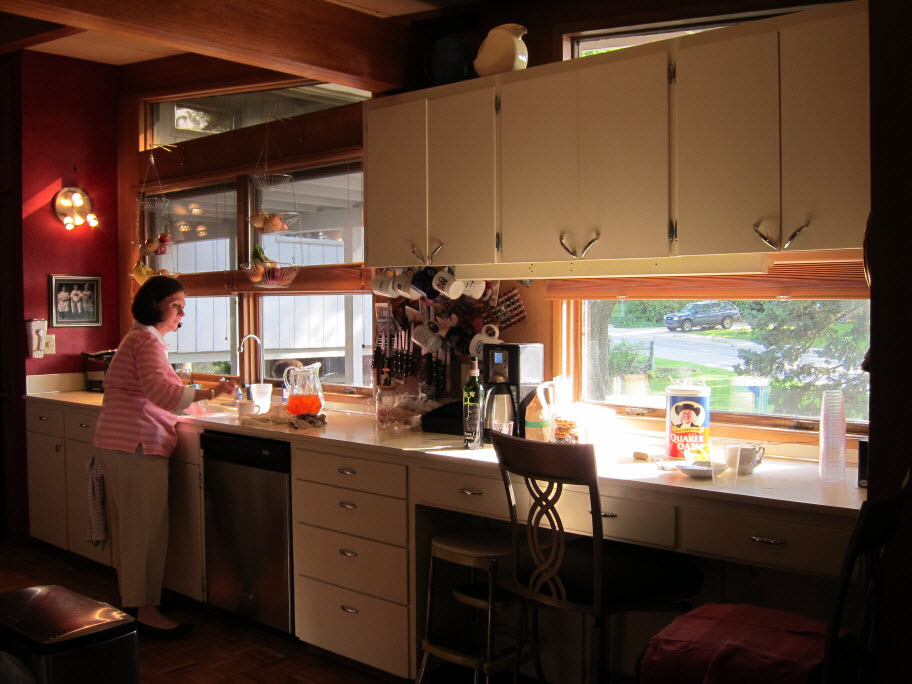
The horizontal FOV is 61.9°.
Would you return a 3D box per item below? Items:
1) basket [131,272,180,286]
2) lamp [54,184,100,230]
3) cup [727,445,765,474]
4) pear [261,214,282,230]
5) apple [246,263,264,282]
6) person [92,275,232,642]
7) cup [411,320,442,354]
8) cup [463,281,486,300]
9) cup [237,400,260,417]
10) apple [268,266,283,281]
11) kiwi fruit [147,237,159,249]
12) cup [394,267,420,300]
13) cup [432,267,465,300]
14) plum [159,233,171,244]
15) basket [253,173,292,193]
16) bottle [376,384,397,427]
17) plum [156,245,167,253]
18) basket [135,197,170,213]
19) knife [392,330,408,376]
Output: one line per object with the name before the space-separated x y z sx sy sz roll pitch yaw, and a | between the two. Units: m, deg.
basket | -1.767 -0.369 4.501 0.170 0.062 0.171 -2 -2 42
lamp | -2.600 -0.914 5.264 0.105 0.311 0.322 1 4 25
cup | 1.025 0.418 2.722 0.125 0.095 0.096 0 -3 -15
pear | -1.046 -0.684 4.375 0.096 0.045 0.072 -5 -7 44
apple | -1.165 -0.397 4.415 0.103 0.088 0.099 -2 4 -26
person | -1.564 0.549 3.939 0.622 1.764 0.428 2 4 30
cup | -0.162 -0.013 3.732 0.133 0.152 0.241 -3 4 -34
cup | 0.083 -0.238 3.544 0.100 0.083 0.075 -1 4 -15
cup | -1.090 0.350 4.021 0.062 0.068 0.099 -5 -9 38
apple | -1.048 -0.396 4.433 0.071 0.054 0.076 5 5 44
kiwi fruit | -2.035 -0.658 5.116 0.065 0.050 0.066 -5 -7 38
cup | -0.233 -0.281 3.606 0.144 0.131 0.106 -2 -5 38
cup | -0.038 -0.260 3.491 0.109 0.113 0.149 36 -25 17
plum | -1.952 -0.686 5.097 0.060 0.058 0.060 2 0 -14
basket | -1.091 -0.955 4.545 0.366 0.089 0.048 3 5 43
bottle | -0.334 0.317 3.755 0.107 0.176 0.267 -1 3 -5
plum | -1.987 -0.624 5.157 0.062 0.060 0.063 0 6 -2
basket | -2.117 -0.954 5.346 0.274 0.114 0.086 1 4 21
knife | -0.273 0.058 3.856 0.092 0.209 0.039 3 4 41
